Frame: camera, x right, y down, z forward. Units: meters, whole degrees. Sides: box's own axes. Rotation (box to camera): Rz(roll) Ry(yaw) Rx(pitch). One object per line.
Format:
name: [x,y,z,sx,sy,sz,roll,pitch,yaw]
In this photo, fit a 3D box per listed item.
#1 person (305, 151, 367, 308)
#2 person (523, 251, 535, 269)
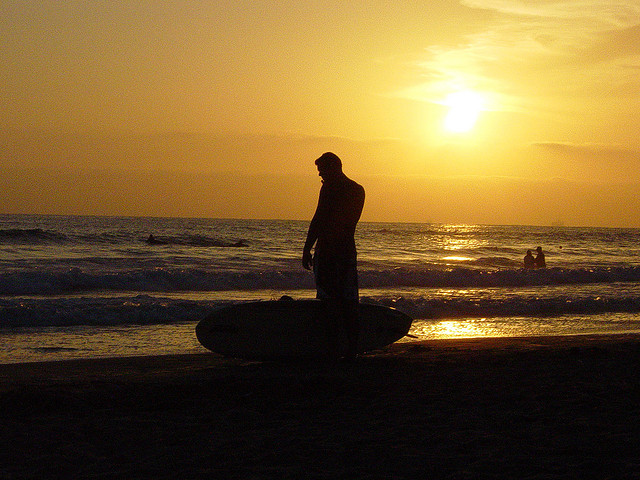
person: [0.160,-0.120,10.944,0.663,1.740,0.582,0,12,3]
person: [6.471,0.598,29.717,0.269,0.625,0.802,2,10,15]
